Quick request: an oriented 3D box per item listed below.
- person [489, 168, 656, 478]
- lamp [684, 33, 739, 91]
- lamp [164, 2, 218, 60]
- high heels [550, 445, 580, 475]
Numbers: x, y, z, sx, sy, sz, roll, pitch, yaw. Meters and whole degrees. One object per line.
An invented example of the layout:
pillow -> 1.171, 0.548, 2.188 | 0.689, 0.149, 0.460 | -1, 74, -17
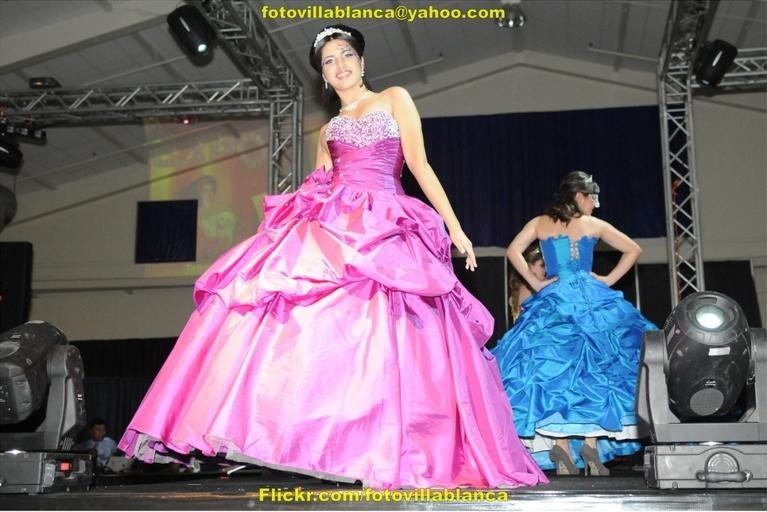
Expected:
person -> 1.594, 0.475, 5.668 | 1.514, 2.224, 1.118 | -3, 19, 14
lamp -> 4.089, -2.435, 8.691 | 0.416, 0.555, 0.607 | -3, -24, 10
lamp -> -2.342, -2.736, 8.452 | 0.392, 0.324, 0.614 | -23, -76, 32
high heels -> 1.372, 1.557, 5.348 | 0.200, 0.235, 0.224 | -6, -25, 17
